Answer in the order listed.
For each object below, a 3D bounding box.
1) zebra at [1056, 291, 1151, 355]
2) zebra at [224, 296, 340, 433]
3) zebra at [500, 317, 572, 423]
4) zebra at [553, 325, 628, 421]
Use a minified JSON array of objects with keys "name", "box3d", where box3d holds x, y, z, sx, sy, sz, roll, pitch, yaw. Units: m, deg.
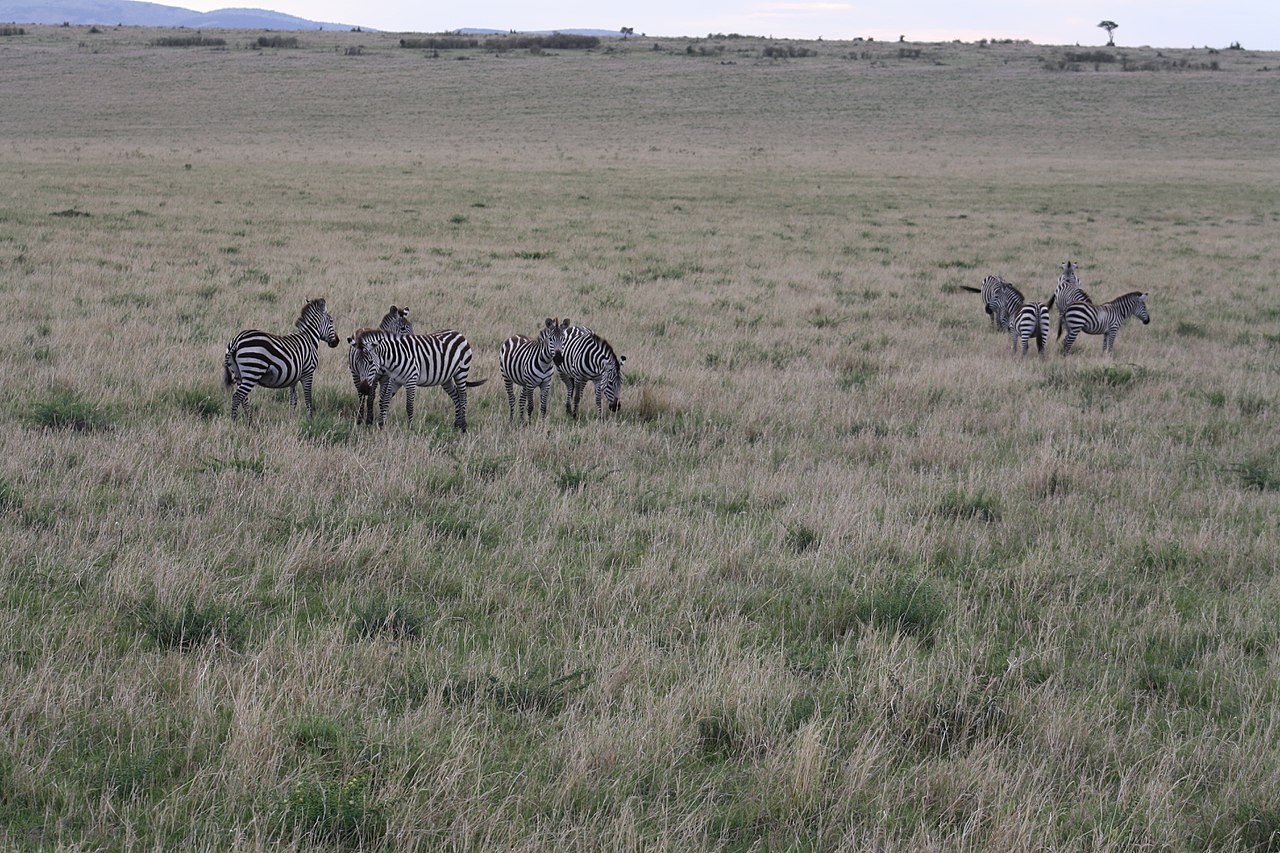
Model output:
[{"name":"zebra","box3d":[23.467,-5.435,86.482,4.673,3.024,2.403,-6,14,-31]},{"name":"zebra","box3d":[-16.865,-3.336,81.232,2.105,5.476,6.749,6,11,43]},{"name":"zebra","box3d":[-5.055,-2.465,82.393,2.122,5.255,7.401,0,2,-21]},{"name":"zebra","box3d":[-2.179,-3.083,82.356,2.321,5.200,5.189,6,-2,-3]}]
